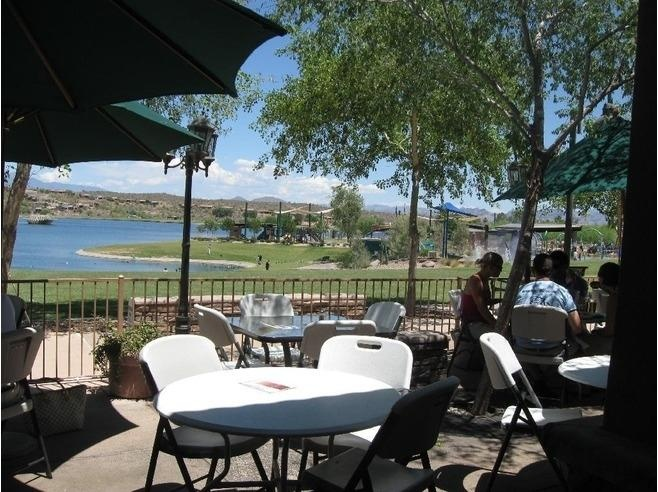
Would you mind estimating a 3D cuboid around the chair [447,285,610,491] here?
[{"bbox_3d":[1.765,1.370,5.073,1.316,2.216,1.105,-2,-3,18],"label":"chair"}]

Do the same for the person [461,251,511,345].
[{"bbox_3d":[2.266,0.811,7.753,0.637,1.491,0.582,6,12,25],"label":"person"}]

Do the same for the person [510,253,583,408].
[{"bbox_3d":[2.931,1.063,7.315,0.928,2.162,0.974,-11,13,-26],"label":"person"}]

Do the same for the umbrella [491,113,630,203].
[{"bbox_3d":[4.522,-1.304,9.699,2.331,1.346,3.093,-1,0,17],"label":"umbrella"}]

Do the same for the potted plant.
[{"bbox_3d":[-2.563,1.431,6.710,0.872,1.073,0.811,2,2,25],"label":"potted plant"}]

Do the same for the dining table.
[{"bbox_3d":[-0.407,1.115,3.951,1.061,0.810,1.140,2,-2,1],"label":"dining table"}]
